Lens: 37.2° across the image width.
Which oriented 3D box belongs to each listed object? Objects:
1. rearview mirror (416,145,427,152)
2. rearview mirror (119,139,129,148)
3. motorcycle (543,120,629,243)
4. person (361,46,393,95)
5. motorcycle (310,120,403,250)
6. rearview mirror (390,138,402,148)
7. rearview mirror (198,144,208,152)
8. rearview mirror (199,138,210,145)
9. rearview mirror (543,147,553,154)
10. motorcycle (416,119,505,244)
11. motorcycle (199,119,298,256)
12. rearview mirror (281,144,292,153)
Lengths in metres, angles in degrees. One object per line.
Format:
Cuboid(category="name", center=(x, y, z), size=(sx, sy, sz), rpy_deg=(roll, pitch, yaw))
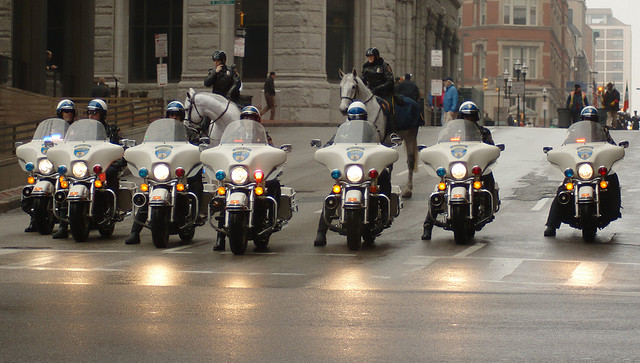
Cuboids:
Cuboid(category="rearview mirror", center=(2.268, -0.718, 21.207), size=(0.182, 0.180, 0.181), rpy_deg=(-8, 14, -7))
Cuboid(category="rearview mirror", center=(-4.439, -0.887, 21.542), size=(0.167, 0.141, 0.253), rpy_deg=(-1, -4, -10))
Cuboid(category="motorcycle", center=(5.734, 0.003, 20.997), size=(1.413, 2.556, 1.443), rpy_deg=(7, 14, 29))
Cuboid(category="person", center=(1.569, -3.073, 26.367), size=(0.900, 1.289, 1.039), rpy_deg=(-2, 12, -6))
Cuboid(category="motorcycle", center=(0.748, 0.103, 20.316), size=(1.525, 2.544, 1.456), rpy_deg=(-10, 16, -39))
Cuboid(category="rearview mirror", center=(1.629, -0.889, 20.804), size=(0.187, 0.184, 0.213), rpy_deg=(-3, -30, 17))
Cuboid(category="rearview mirror", center=(-2.555, -0.733, 20.714), size=(0.198, 0.180, 0.208), rpy_deg=(-9, -38, -2))
Cuboid(category="rearview mirror", center=(-2.467, -0.865, 20.444), size=(0.159, 0.095, 0.181), rpy_deg=(-1, -12, 6))
Cuboid(category="rearview mirror", center=(5.131, -0.723, 21.570), size=(0.153, 0.162, 0.160), rpy_deg=(-8, 31, 1))
Cuboid(category="motorcycle", center=(3.063, 0.061, 20.615), size=(1.600, 2.656, 1.580), rpy_deg=(1, 12, 8))
Cuboid(category="motorcycle", center=(-1.543, 0.143, 19.906), size=(1.170, 2.757, 1.673), rpy_deg=(11, 17, 42))
Cuboid(category="rearview mirror", center=(-0.702, -0.712, 20.300), size=(0.238, 0.177, 0.170), rpy_deg=(22, -22, -15))
